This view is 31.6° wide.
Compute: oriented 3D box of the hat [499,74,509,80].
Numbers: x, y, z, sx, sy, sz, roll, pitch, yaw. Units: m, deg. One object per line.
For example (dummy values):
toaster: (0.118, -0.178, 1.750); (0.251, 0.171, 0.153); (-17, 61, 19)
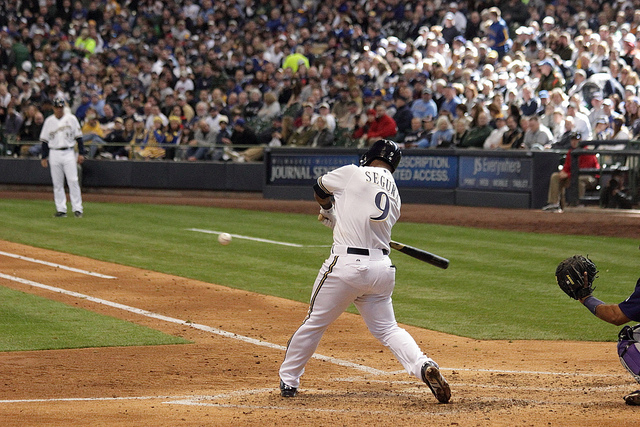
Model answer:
hat: (5.180, -3.810, 31.443); (0.169, 0.150, 0.485); (4, 6, 40)

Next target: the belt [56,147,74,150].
belt: (-6.182, -1.582, 27.310); (0.354, 0.043, 0.095); (-3, 6, -31)

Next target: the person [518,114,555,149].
person: (5.594, -2.069, 28.861); (1.023, 0.396, 0.375); (-11, -7, 32)

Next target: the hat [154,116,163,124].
hat: (-4.734, -2.742, 33.015); (0.237, 0.220, 0.130); (-1, 6, -8)

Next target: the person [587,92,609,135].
person: (7.115, -2.503, 28.637); (0.431, 0.416, 1.247); (22, 30, 6)

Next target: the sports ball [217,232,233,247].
sports ball: (-2.024, 0.543, 23.971); (0.225, 0.205, 0.208); (16, 30, -9)

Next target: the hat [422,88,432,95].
hat: (2.965, -3.349, 30.855); (0.264, 0.172, 0.321); (0, 5, 3)

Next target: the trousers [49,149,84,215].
trousers: (-6.218, -0.875, 27.539); (0.791, 1.700, 0.469); (0, 3, 3)

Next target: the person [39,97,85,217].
person: (-6.288, -1.385, 27.514); (1.253, 2.877, 0.742); (1, 6, 17)

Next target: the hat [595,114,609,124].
hat: (7.105, -2.369, 28.267); (0.322, 0.096, 0.340); (-3, -6, 44)

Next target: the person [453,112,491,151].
person: (4.119, -2.175, 29.875); (0.936, 0.996, 0.249); (4, 8, 43)

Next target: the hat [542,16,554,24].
hat: (6.811, -5.721, 33.448); (0.314, 0.206, 0.307); (3, 7, 27)

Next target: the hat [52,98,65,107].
hat: (-6.370, -2.690, 27.313); (0.356, 0.215, 0.301); (0, 5, 9)

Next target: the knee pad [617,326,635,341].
knee pad: (5.071, 1.950, 18.543); (0.156, 0.124, 0.259); (0, 36, 26)

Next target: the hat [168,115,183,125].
hat: (-4.229, -2.754, 33.032); (0.402, 0.278, 0.560); (-1, 5, -7)

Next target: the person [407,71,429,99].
person: (2.790, -3.601, 31.677); (0.573, 0.778, 1.564); (0, 5, 5)

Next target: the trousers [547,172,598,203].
trousers: (6.195, -0.694, 27.760); (0.873, 0.844, 0.682); (0, -5, 1)
